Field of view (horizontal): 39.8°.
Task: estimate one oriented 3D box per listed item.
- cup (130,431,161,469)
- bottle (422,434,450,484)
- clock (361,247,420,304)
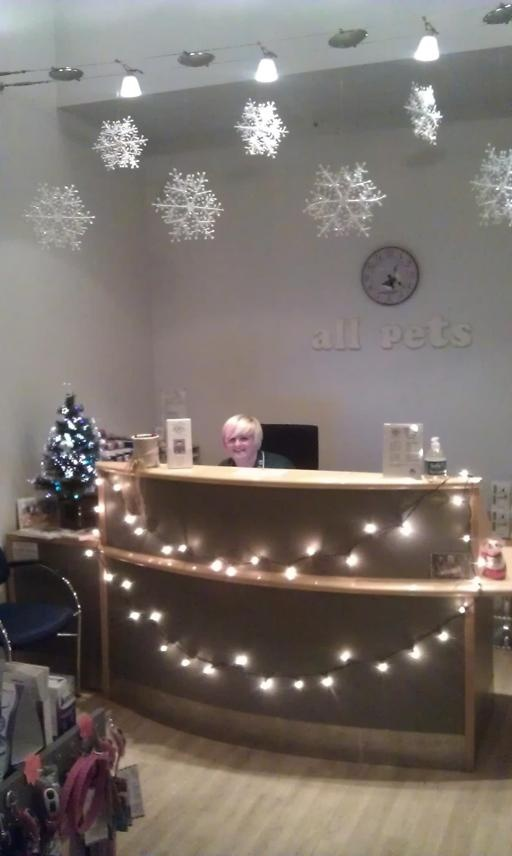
[{"bbox_3d":[-0.450,0.089,2.896,0.113,0.127,0.128,-3,7,-9],"label":"cup"},{"bbox_3d":[0.636,0.094,2.527,0.072,0.127,0.202,-1,7,13],"label":"bottle"},{"bbox_3d":[0.839,-0.961,4.420,0.347,0.348,0.080,11,18,29],"label":"clock"}]
